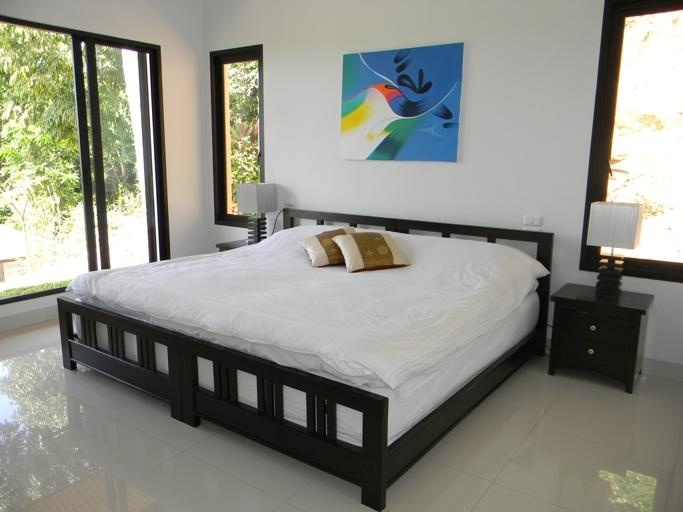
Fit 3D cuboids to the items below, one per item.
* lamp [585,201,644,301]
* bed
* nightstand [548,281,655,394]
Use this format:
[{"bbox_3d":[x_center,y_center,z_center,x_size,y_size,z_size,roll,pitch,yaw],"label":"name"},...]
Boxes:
[{"bbox_3d":[1.951,-0.049,3.426,0.421,0.659,0.295,-12,17,-44],"label":"lamp"},{"bbox_3d":[0.116,0.657,3.309,2.243,0.869,2.037,8,13,36],"label":"bed"},{"bbox_3d":[1.778,0.500,3.562,0.828,0.881,0.623,5,8,30],"label":"nightstand"}]
